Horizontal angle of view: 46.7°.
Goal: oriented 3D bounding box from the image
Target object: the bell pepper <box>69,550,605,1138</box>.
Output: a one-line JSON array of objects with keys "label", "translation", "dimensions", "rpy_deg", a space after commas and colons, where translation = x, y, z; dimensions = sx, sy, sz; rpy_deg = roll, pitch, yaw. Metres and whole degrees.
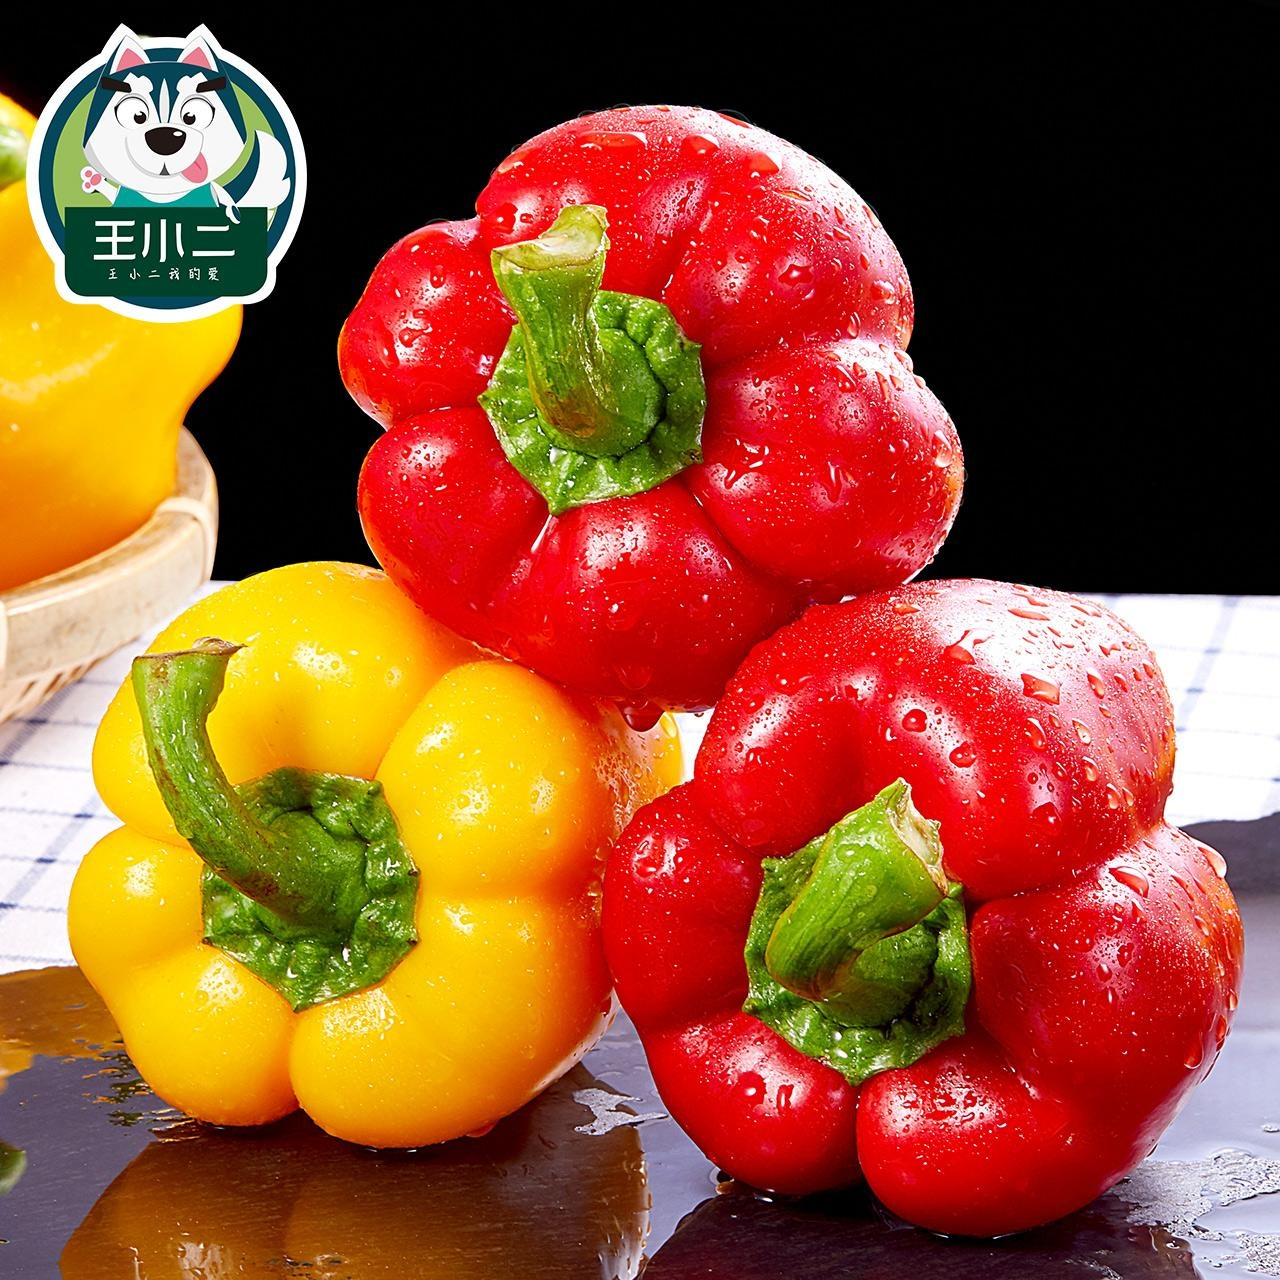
[{"label": "bell pepper", "translation": [-0.189, 0.143, 0.980], "dimensions": [0.264, 0.282, 0.343], "rpy_deg": [56, 16, 14]}]

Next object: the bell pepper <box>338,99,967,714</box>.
[{"label": "bell pepper", "translation": [0.002, -0.158, 1.073], "dimensions": [0.431, 0.361, 0.453], "rpy_deg": [8, -2, 8]}]
